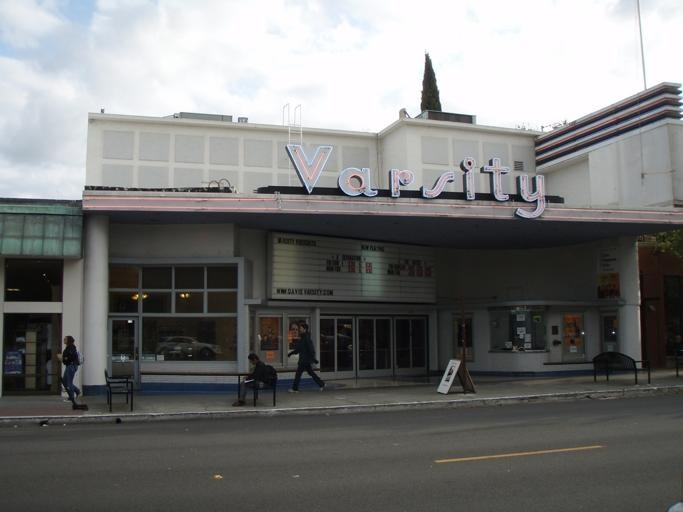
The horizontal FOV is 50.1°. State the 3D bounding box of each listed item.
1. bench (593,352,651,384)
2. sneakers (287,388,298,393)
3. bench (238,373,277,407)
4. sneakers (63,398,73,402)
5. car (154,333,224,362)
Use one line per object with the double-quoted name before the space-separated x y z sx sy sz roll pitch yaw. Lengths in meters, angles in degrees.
"bench" 10.143 4.110 26.830 0.867 1.140 2.362 2 -7 -16
"sneakers" -1.692 4.637 25.218 0.397 0.181 0.148 0 -2 45
"bench" -2.621 4.173 22.548 1.079 1.790 0.928 5 -12 -15
"sneakers" -8.556 4.507 22.769 0.124 0.135 0.334 9 -17 -32
"car" -5.369 3.200 25.436 1.960 0.776 0.923 -1 -3 -6
